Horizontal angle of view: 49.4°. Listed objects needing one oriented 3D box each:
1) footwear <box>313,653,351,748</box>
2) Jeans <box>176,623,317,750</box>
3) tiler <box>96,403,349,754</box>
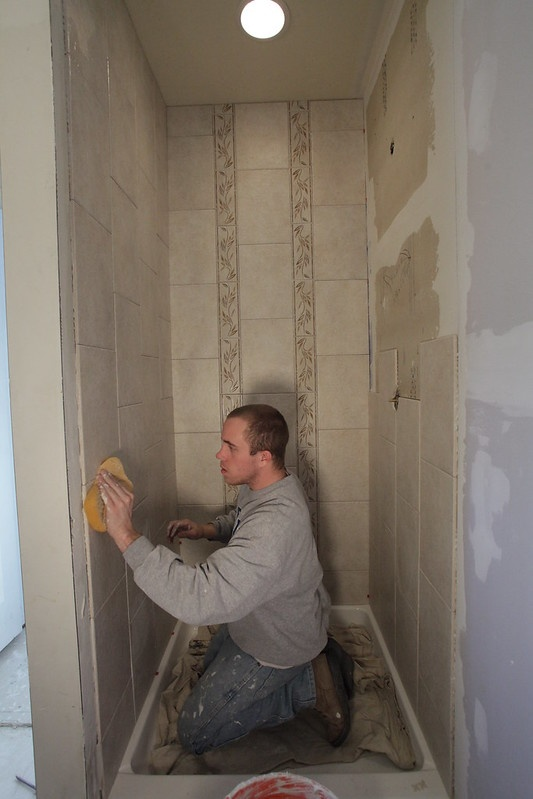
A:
[{"bbox_3d":[0.187,0.896,1.737,0.082,0.239,0.084,-2,-36,-7],"label":"footwear"},{"bbox_3d":[-0.093,0.924,1.787,0.363,0.120,0.390,-21,-6,-33],"label":"Jeans"},{"bbox_3d":[-0.016,0.508,1.887,0.735,1.258,0.775,4,16,8],"label":"tiler"}]
